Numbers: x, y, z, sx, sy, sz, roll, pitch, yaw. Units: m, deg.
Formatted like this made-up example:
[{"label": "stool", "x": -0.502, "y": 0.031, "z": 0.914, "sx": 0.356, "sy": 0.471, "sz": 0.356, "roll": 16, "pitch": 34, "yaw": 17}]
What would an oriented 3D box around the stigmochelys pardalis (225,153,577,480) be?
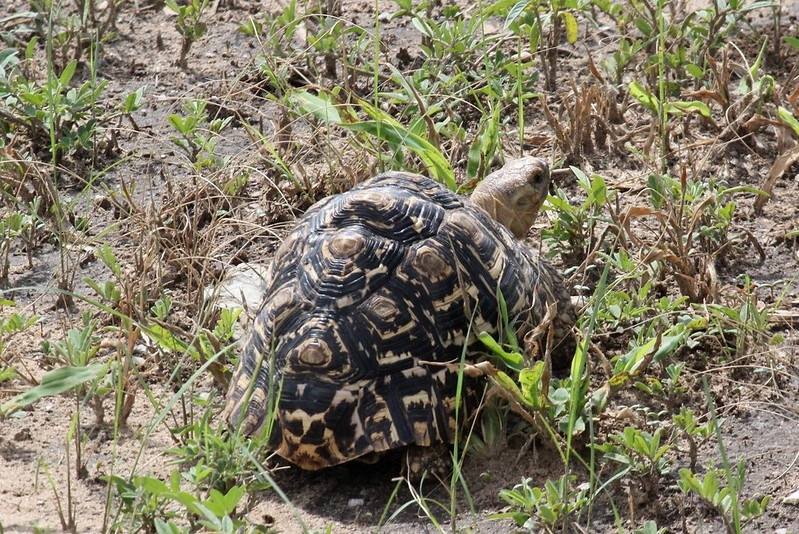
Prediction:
[{"label": "stigmochelys pardalis", "x": 0.105, "y": 0.194, "z": 3.986, "sx": 0.969, "sy": 0.922, "sz": 1.633, "roll": 21, "pitch": 58, "yaw": 35}]
